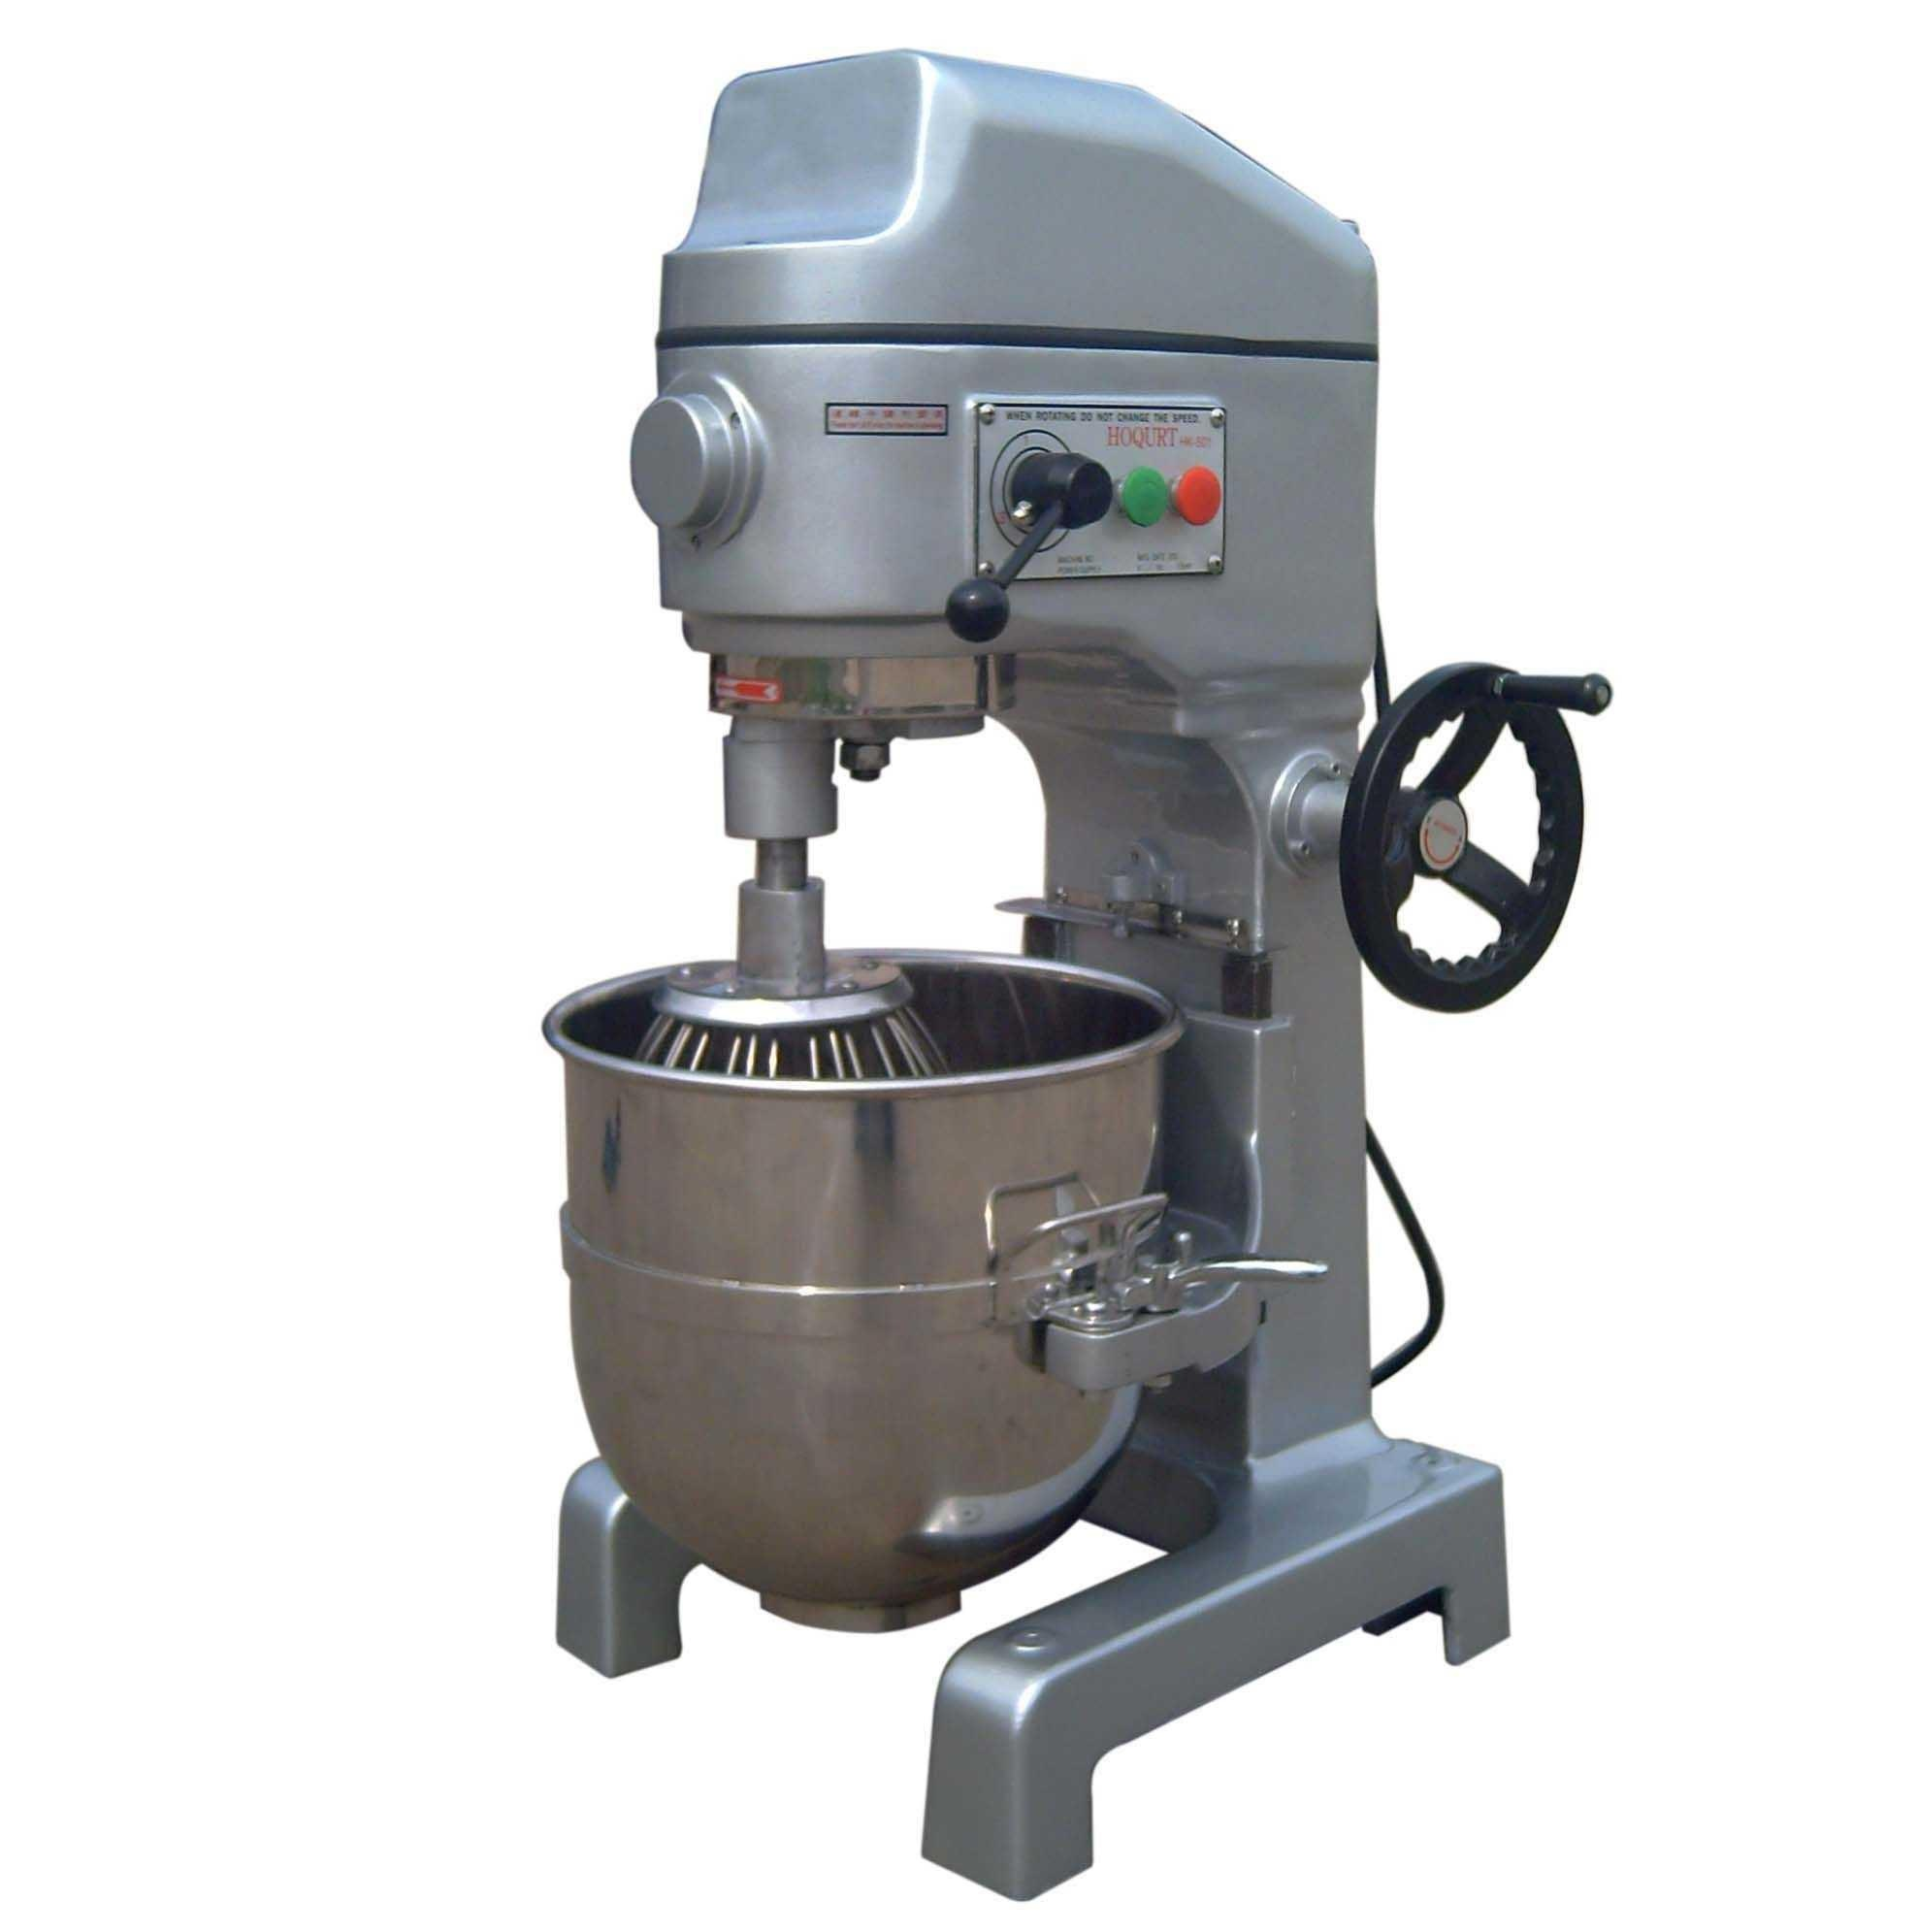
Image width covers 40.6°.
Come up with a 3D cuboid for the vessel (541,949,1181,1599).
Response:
[{"bbox_3d":[-0.098,0.248,2.199,0.591,0.438,0.550,0,8,0],"label":"vessel"}]
